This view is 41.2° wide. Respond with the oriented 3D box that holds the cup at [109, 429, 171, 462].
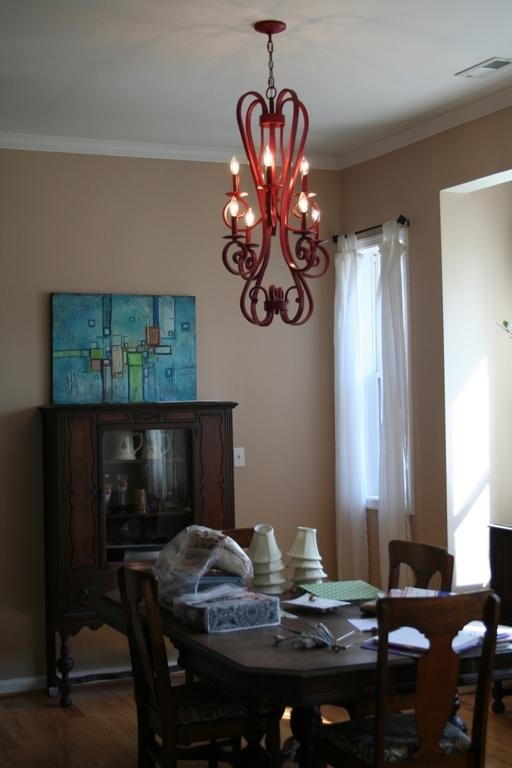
[{"bbox_3d":[-0.583,0.309,3.395,0.243,0.201,0.141,1,-5,-24],"label":"cup"}]
